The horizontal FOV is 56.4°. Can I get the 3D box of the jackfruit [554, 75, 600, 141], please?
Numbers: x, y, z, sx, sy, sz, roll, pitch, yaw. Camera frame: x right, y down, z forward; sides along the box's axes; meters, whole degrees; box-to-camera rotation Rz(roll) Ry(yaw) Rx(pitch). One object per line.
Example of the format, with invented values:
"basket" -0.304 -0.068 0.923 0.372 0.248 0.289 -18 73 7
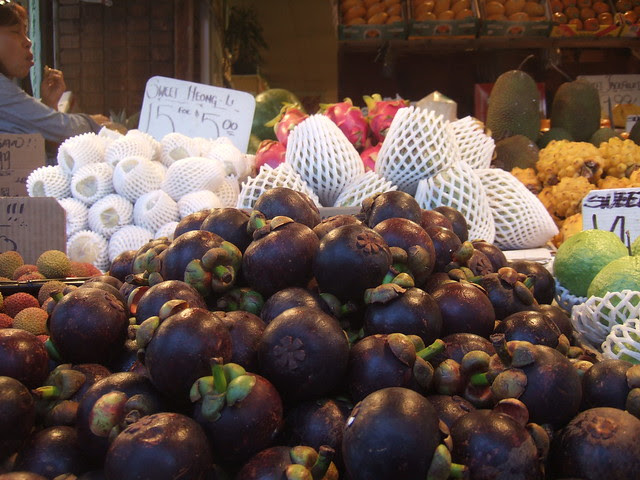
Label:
"jackfruit" 2.200 -1.129 5.121 0.396 0.583 0.422 1 39 29
